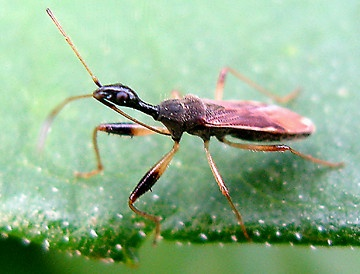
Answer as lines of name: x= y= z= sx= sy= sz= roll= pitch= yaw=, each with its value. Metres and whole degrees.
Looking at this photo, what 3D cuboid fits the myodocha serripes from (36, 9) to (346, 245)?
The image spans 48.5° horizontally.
myodocha serripes: x=0.250 y=-0.161 z=4.090 sx=3.259 sy=1.891 sz=2.432 roll=-3 pitch=-16 yaw=-2
